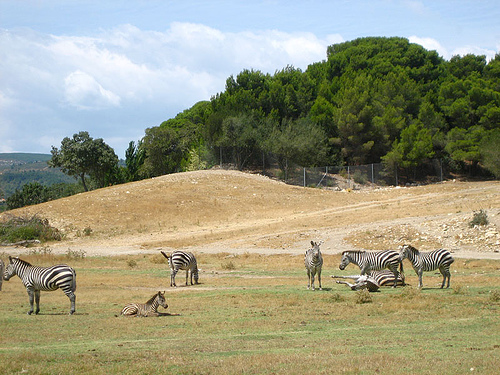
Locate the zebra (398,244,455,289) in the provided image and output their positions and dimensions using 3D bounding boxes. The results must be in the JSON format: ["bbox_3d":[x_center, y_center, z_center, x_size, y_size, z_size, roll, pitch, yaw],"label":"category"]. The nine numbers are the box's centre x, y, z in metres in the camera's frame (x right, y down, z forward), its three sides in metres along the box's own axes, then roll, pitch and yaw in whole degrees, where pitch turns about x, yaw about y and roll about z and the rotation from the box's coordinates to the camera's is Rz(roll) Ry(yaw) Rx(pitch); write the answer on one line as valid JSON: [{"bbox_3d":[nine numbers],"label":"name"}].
[{"bbox_3d":[12.465,5.588,59.373,4.007,3.460,1.260,-2,13,1],"label":"zebra"}]

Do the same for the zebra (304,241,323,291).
[{"bbox_3d":[4.445,5.409,58.595,1.195,3.403,1.330,0,1,2],"label":"zebra"}]

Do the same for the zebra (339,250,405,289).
[{"bbox_3d":[8.666,5.731,59.860,4.459,3.209,1.388,-3,14,4],"label":"zebra"}]

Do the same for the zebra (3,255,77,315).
[{"bbox_3d":[-13.506,6.480,55.075,4.502,3.327,1.197,2,9,12],"label":"zebra"}]

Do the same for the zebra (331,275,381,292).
[{"bbox_3d":[7.869,6.702,59.022,1.973,0.926,1.667,3,-3,6],"label":"zebra"}]

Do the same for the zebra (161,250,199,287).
[{"bbox_3d":[-4.798,5.655,62.791,1.226,3.623,4.486,2,0,37],"label":"zebra"}]

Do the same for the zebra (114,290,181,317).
[{"bbox_3d":[-6.587,7.974,55.542,4.324,2.196,1.772,-2,-1,-2],"label":"zebra"}]
